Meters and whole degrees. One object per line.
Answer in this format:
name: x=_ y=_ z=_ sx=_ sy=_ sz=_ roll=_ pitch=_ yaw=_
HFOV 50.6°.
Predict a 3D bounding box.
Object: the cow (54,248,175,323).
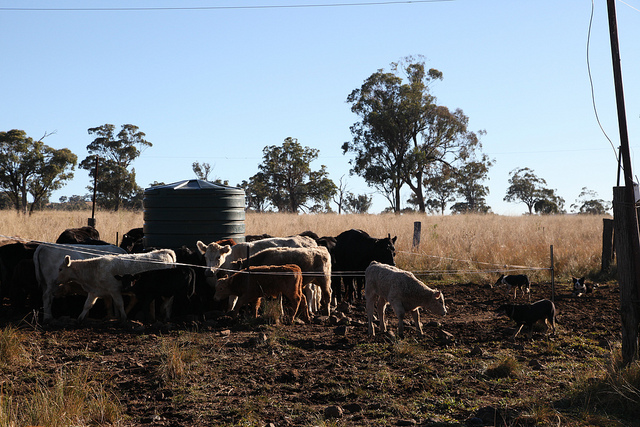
cow: x=-4.612 y=1.670 z=16.106 sx=3.063 sy=1.723 sz=0.818 roll=-3 pitch=3 yaw=-18
